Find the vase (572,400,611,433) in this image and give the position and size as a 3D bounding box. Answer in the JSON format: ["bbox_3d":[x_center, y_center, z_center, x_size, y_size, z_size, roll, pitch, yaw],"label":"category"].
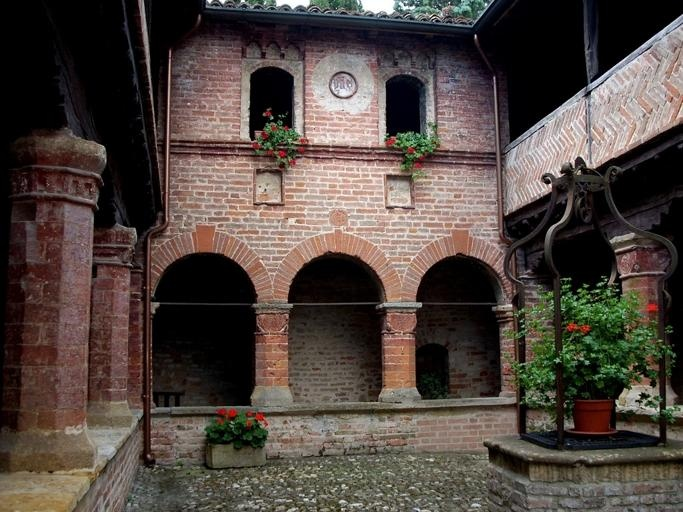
[{"bbox_3d":[2.541,1.625,7.413,0.441,0.320,0.451,-4,-8,44],"label":"vase"}]

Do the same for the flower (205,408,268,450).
[{"bbox_3d":[-1.562,2.734,11.575,0.696,0.404,0.737,2,2,13],"label":"flower"}]

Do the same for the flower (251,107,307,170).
[{"bbox_3d":[-1.142,-1.981,12.890,0.938,0.578,0.755,-13,4,-25],"label":"flower"}]

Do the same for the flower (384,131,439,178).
[{"bbox_3d":[1.312,-1.926,13.051,0.693,0.817,0.915,21,-23,-36],"label":"flower"}]
